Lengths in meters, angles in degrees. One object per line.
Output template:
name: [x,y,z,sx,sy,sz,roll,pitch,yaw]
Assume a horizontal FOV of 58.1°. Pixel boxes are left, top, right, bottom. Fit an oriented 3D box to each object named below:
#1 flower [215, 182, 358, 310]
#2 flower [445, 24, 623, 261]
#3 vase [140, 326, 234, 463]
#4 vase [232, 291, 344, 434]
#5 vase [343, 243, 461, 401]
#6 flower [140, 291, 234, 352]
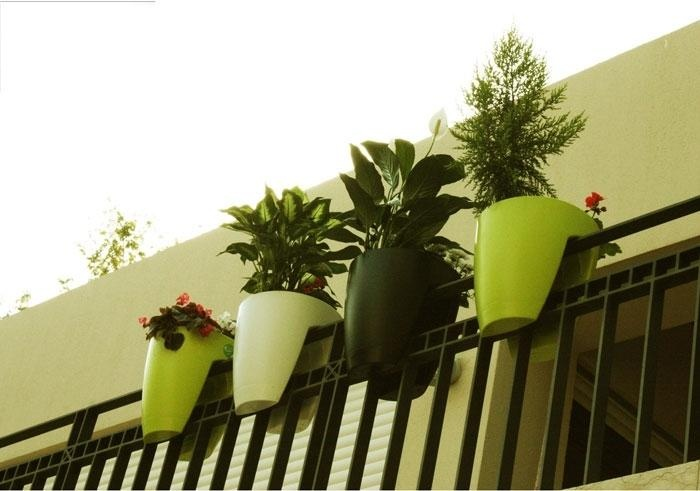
flower: [-0.308,0.013,2.737,0.542,0.460,0.607,12,0,-1]
flower: [0.582,-0.329,2.507,0.468,0.799,0.433,-9,-19,31]
vase: [-0.659,0.594,2.802,0.402,0.450,0.383,16,-8,-29]
vase: [-0.259,0.479,2.603,0.425,0.471,0.450,0,-27,-2]
vase: [0.122,0.258,2.410,0.415,0.498,0.490,-2,-2,12]
flower: [-0.715,0.330,2.855,0.425,0.265,0.506,5,-8,-22]
